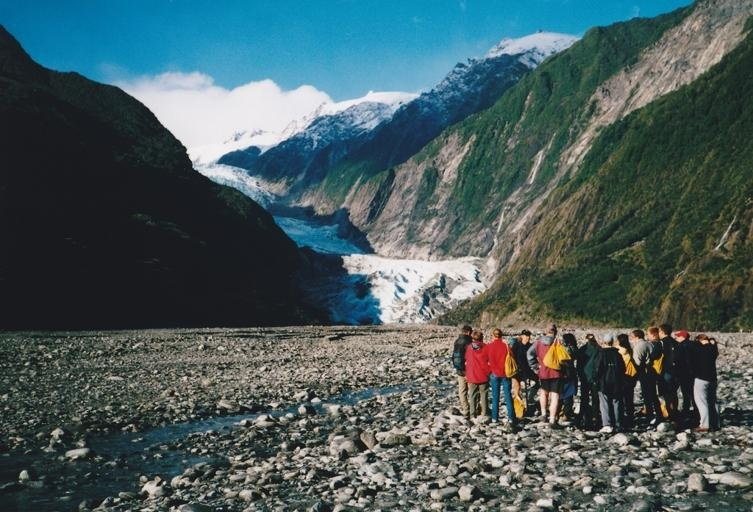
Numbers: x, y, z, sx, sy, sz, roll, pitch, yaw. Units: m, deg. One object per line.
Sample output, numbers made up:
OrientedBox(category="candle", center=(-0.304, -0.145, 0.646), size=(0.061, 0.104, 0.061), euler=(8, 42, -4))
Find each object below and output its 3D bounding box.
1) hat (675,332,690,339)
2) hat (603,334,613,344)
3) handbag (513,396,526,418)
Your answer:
OrientedBox(category="hat", center=(18.645, 4.717, 40.535), size=(0.775, 0.417, 0.553), euler=(3, -4, 20))
OrientedBox(category="hat", center=(13.872, 4.897, 39.688), size=(0.560, 0.559, 0.299), euler=(-16, -39, 44))
OrientedBox(category="handbag", center=(8.994, 9.396, 41.719), size=(0.411, 1.037, 0.840), euler=(6, -7, -44))
